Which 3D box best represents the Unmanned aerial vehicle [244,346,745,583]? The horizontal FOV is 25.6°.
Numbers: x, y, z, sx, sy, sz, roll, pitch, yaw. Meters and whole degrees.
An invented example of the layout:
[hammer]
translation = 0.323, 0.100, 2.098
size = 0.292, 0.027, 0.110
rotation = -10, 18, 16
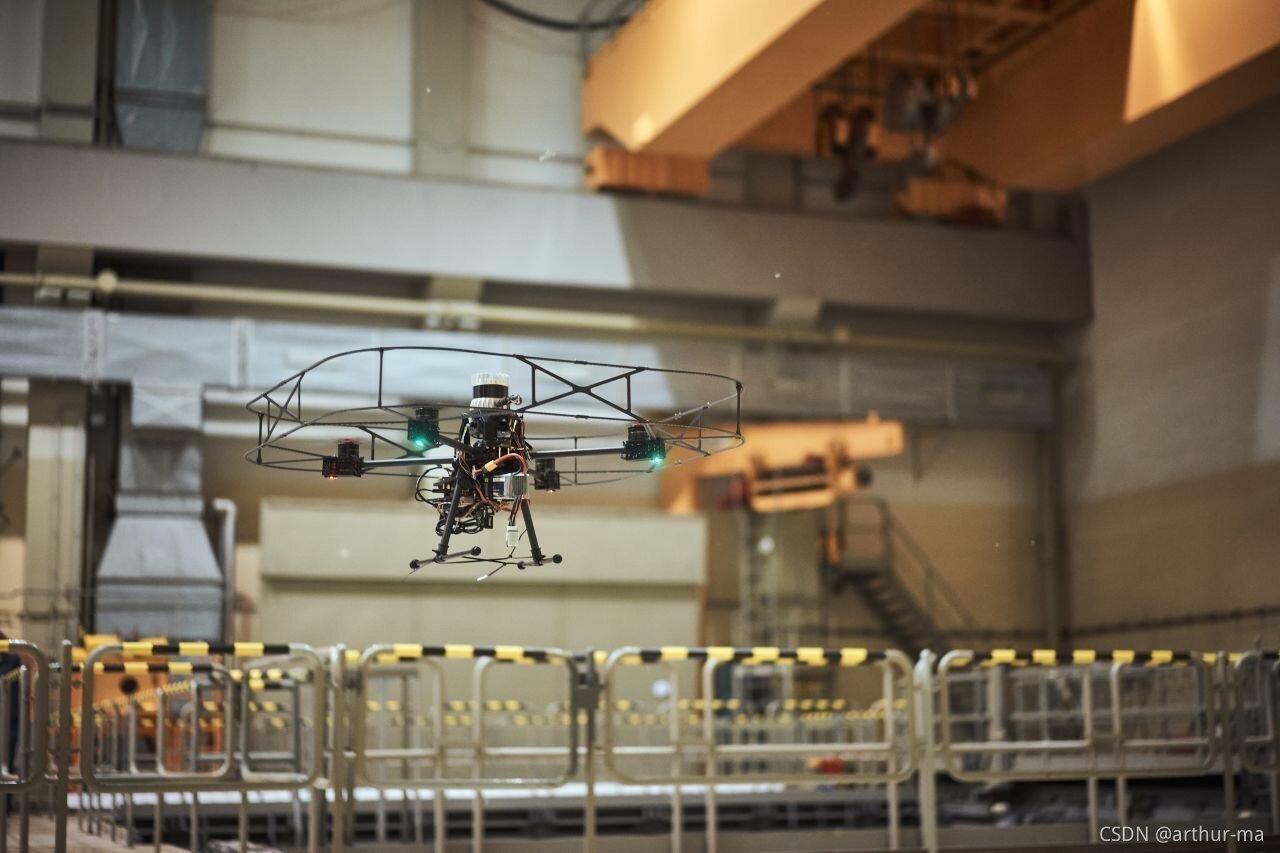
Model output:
[Unmanned aerial vehicle]
translation = -1.356, 0.002, 23.596
size = 2.990, 1.093, 2.845
rotation = 10, -19, -30
